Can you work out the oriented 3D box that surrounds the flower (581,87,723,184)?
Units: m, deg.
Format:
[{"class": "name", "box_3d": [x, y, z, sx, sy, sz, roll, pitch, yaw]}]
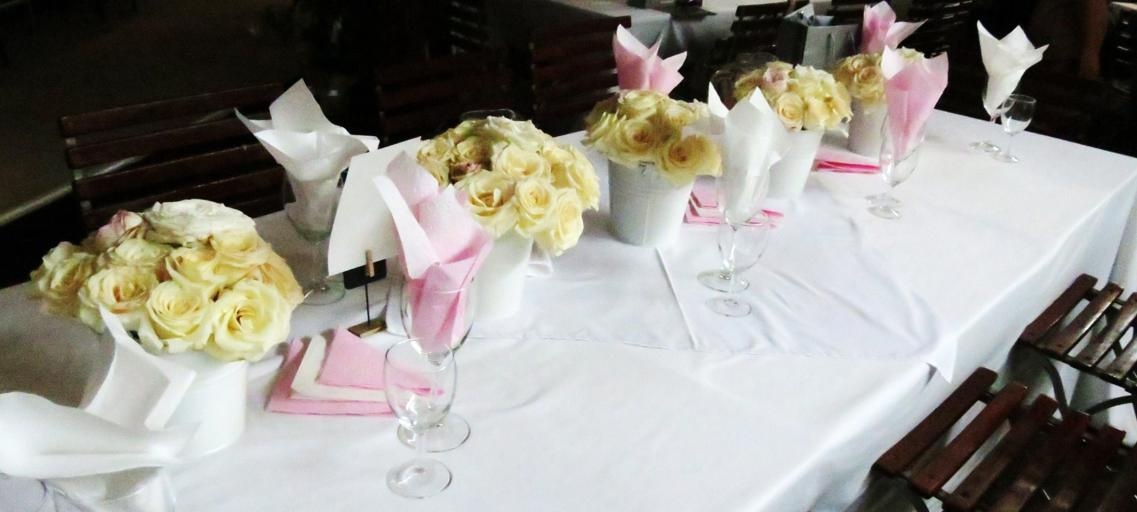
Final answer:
[{"class": "flower", "box_3d": [0.314, -0.422, 2.519, 0.436, 0.164, 0.385, 19, 64, 11]}]

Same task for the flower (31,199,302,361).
[{"class": "flower", "box_3d": [-1.266, 0.161, 2.068, 0.630, 0.270, 0.575, 24, 44, -10]}]

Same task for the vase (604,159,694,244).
[{"class": "vase", "box_3d": [0.232, -0.228, 2.614, 0.331, 0.266, 0.357, -4, 15, -38]}]

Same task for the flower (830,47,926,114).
[{"class": "flower", "box_3d": [1.316, -0.822, 2.858, 0.367, 0.138, 0.301, -5, 41, -1]}]

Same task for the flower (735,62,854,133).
[{"class": "flower", "box_3d": [0.947, -0.615, 2.831, 0.419, 0.210, 0.366, -24, 58, -13]}]
